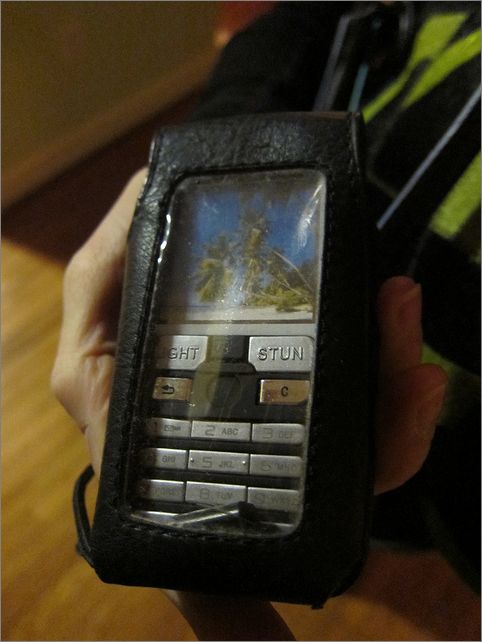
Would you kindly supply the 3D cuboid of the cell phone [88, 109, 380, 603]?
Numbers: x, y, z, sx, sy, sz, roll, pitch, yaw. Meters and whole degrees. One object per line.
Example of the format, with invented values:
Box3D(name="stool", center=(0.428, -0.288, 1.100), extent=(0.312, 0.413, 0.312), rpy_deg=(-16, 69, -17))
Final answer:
Box3D(name="cell phone", center=(0.012, 0.026, 0.358), extent=(0.171, 0.086, 0.265), rpy_deg=(2, 84, 21))
